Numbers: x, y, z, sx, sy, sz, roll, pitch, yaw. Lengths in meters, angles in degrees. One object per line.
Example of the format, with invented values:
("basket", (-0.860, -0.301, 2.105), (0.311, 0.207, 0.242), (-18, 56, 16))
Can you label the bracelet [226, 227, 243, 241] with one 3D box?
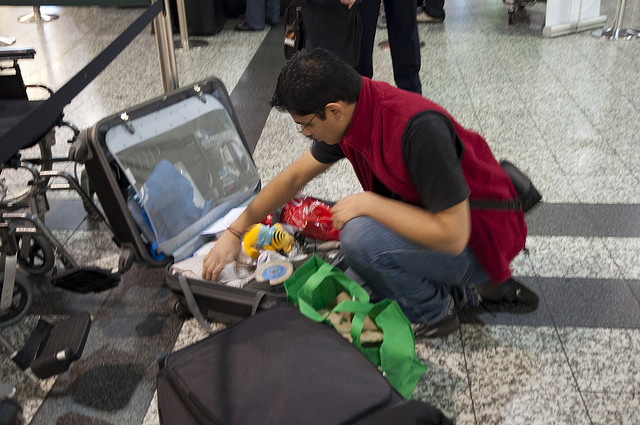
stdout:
("bracelet", (-0.376, 0.087, 1.955), (0.053, 0.015, 0.047), (33, -2, 5))

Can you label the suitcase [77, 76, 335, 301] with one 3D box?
("suitcase", (-0.500, -0.089, 2.005), (0.947, 0.658, 1.008), (11, 35, 22))

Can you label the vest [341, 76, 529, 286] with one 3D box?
("vest", (0.487, -0.079, 1.779), (0.809, 0.856, 0.369), (-4, 32, -9))

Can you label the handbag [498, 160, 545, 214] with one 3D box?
("handbag", (1.030, -0.123, 2.301), (0.078, 0.276, 0.246), (-14, 24, 51))

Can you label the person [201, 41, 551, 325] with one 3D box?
("person", (0.235, -0.066, 1.959), (1.279, 1.130, 0.850), (-3, 19, 4))
